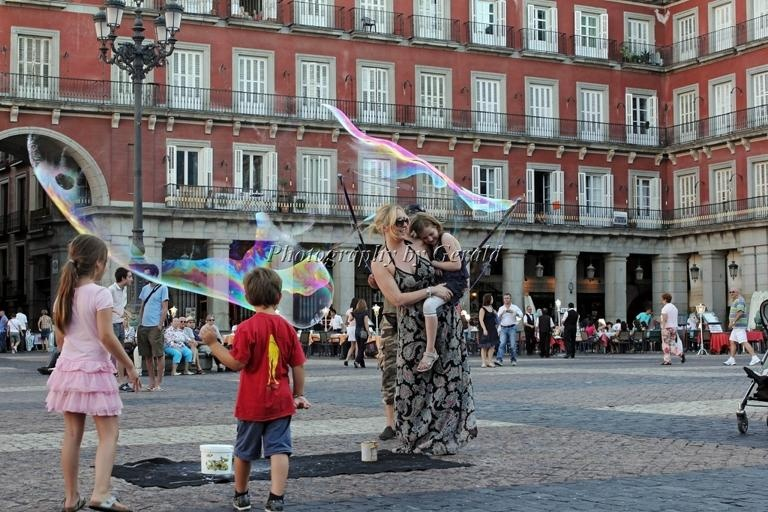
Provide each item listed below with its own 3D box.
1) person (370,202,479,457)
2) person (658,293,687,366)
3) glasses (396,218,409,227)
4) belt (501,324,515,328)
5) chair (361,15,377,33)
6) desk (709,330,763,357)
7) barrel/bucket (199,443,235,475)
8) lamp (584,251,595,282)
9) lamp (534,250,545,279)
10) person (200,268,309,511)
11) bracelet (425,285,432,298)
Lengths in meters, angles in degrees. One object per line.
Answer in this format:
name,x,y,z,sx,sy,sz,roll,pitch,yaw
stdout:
person,0.568,1.118,18.544,1.524,3.748,0.644,0,-4,0
person,7.433,1.939,32.411,0.642,1.875,0.872,-1,1,-23
glasses,0.273,-0.492,18.446,0.226,0.127,0.056,2,-4,-37
belt,3.314,1.892,33.052,0.361,0.081,0.144,0,-3,4
chair,-0.629,-8.918,47.300,0.569,0.773,0.653,0,1,45
desk,11.378,2.691,40.324,1.392,0.651,0.943,3,-6,-38
barrel/bucket,-2.363,2.896,17.457,0.465,0.323,0.453,0,-10,0
lamp,8.702,0.512,52.103,0.443,1.101,1.512,-1,-3,10
lamp,6.461,0.439,51.197,0.373,0.932,1.508,0,-3,8
person,-1.633,1.793,16.496,1.212,3.267,0.461,0,-4,-2
bracelet,0.662,0.544,18.290,0.078,0.157,0.039,0,-4,1
